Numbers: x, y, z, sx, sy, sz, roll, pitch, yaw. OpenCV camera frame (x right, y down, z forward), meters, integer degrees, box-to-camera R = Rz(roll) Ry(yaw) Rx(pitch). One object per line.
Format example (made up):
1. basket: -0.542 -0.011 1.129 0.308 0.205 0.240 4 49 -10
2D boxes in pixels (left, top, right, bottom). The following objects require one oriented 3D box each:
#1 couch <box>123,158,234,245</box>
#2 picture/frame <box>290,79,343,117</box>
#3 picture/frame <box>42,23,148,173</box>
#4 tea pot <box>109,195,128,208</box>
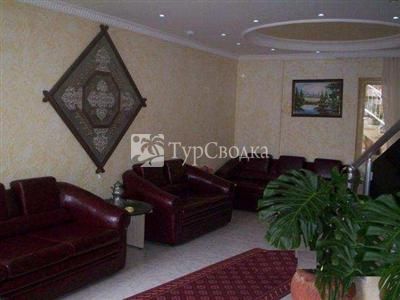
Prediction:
1. couch: -0.414 0.896 5.161 1.426 1.155 1.991 3 6 38
2. picture/frame: 2.762 -1.224 6.906 1.088 0.731 0.071 3 7 23
3. picture/frame: -1.645 -0.796 4.480 0.092 1.788 1.990 5 48 32
4. tea pot: -1.182 0.723 4.343 0.230 0.188 0.204 -7 14 -36
